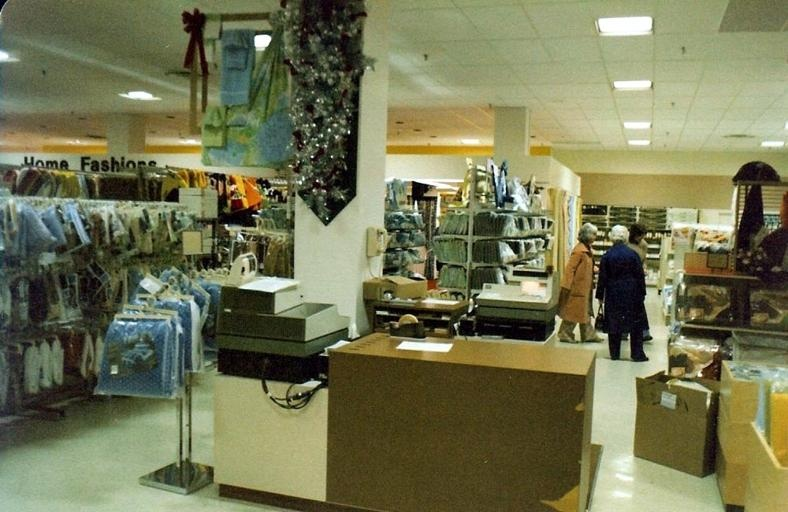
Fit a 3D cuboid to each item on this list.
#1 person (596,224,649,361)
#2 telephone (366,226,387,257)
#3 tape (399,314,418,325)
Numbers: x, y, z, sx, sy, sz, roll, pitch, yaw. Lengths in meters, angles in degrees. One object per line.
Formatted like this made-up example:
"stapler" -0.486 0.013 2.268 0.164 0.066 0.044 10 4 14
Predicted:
"person" 3.312 0.700 8.929 0.781 1.666 0.510 3 14 7
"telephone" -0.175 -0.162 6.707 0.093 0.352 0.319 9 15 29
"tape" 0.130 0.558 5.514 0.115 0.107 0.037 -1 -1 0
